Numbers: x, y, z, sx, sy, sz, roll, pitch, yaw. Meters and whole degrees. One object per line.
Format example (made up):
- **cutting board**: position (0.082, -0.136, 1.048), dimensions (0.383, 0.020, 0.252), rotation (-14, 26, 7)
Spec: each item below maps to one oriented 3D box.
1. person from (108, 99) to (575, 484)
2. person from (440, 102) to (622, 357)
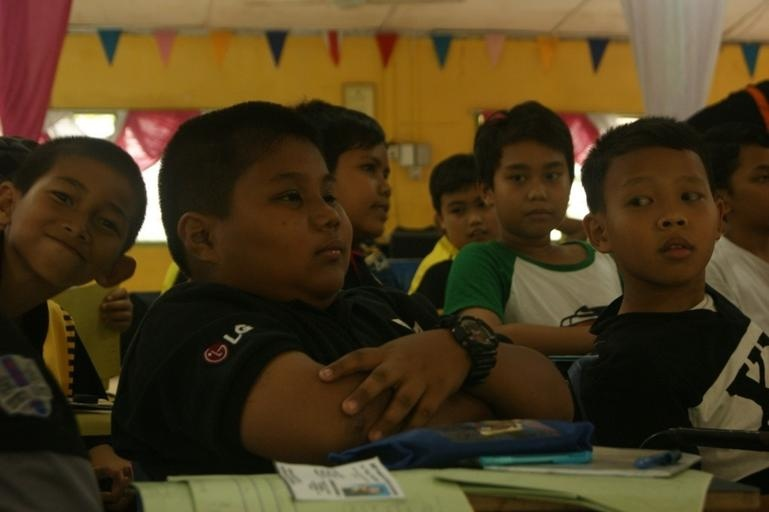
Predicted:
- **person**: position (-0.096, 0.154, 2.442), dimensions (1.330, 1.135, 1.100), rotation (-2, -3, -23)
- **person**: position (0.647, -0.130, 3.715), dimensions (1.104, 1.123, 1.017), rotation (-1, -4, -8)
